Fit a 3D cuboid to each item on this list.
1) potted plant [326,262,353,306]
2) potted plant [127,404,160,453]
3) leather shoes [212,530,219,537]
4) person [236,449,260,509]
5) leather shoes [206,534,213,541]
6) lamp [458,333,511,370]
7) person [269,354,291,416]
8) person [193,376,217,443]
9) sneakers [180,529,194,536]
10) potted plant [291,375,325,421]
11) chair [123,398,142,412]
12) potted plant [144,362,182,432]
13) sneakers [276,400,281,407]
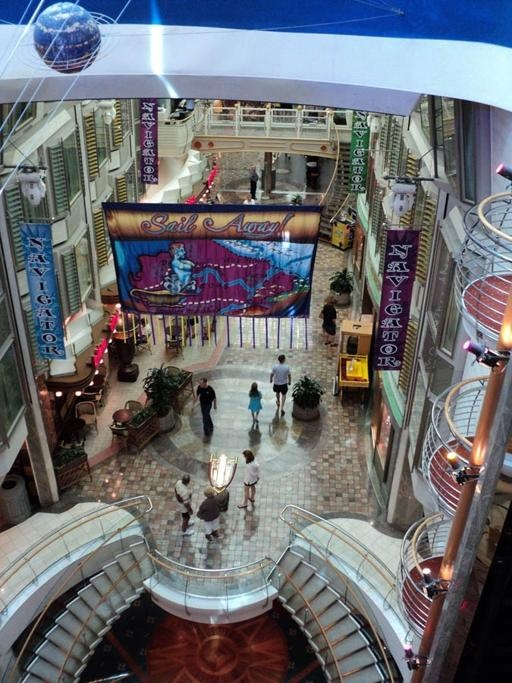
[{"bbox_3d":[3.602,-2.380,20.466,0.992,1.445,2.332,5,26,8],"label":"potted plant"},{"bbox_3d":[-3.202,2.504,13.640,0.379,0.893,0.967,21,48,18],"label":"potted plant"},{"bbox_3d":[-0.971,4.571,11.403,0.106,0.170,0.171,-7,-9,7],"label":"leather shoes"},{"bbox_3d":[-0.186,3.345,11.935,0.426,1.631,0.591,3,26,3],"label":"person"},{"bbox_3d":[-1.096,4.593,11.283,0.077,0.184,0.096,-13,15,28],"label":"leather shoes"},{"bbox_3d":[1.480,0.036,3.146,0.285,0.153,0.182,21,19,-32],"label":"lamp"},{"bbox_3d":[0.714,1.351,14.887,0.516,1.743,0.897,5,27,8],"label":"person"},{"bbox_3d":[-1.457,1.858,13.720,0.643,1.872,0.615,-2,29,-5],"label":"person"},{"bbox_3d":[-1.637,4.562,11.543,0.245,0.106,0.104,-6,31,-20],"label":"sneakers"},{"bbox_3d":[1.555,1.723,14.945,1.087,1.220,1.114,6,9,14],"label":"potted plant"},{"bbox_3d":[-3.720,1.997,14.475,0.426,0.517,0.378,-2,46,-22],"label":"chair"},{"bbox_3d":[-2.817,1.695,14.498,1.223,1.973,0.962,2,7,28],"label":"potted plant"},{"bbox_3d":[0.685,1.931,15.106,0.143,0.382,0.135,0,70,1],"label":"sneakers"}]
